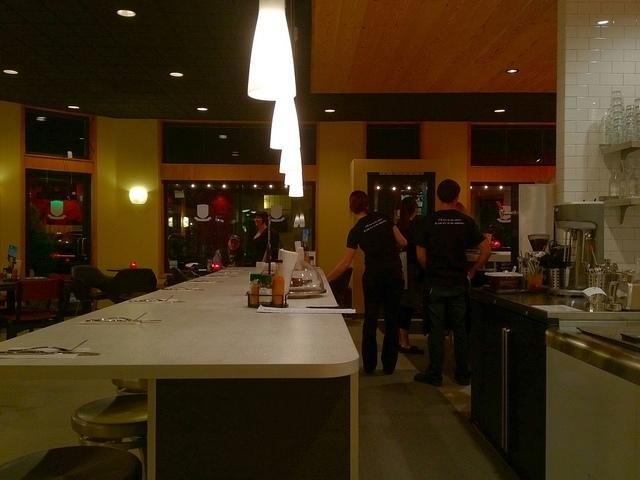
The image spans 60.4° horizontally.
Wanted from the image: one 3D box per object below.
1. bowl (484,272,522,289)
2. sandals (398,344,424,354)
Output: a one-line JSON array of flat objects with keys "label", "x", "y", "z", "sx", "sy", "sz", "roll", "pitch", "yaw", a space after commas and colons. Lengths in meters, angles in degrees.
[{"label": "bowl", "x": 1.357, "y": 0.289, "z": 4.059, "sx": 0.254, "sy": 0.090, "sz": 0.232, "roll": 8, "pitch": 6, "yaw": -1}, {"label": "sandals", "x": 1.028, "y": 1.220, "z": 6.166, "sx": 0.233, "sy": 0.065, "sz": 0.177, "roll": -1, "pitch": -1, "yaw": 5}]
